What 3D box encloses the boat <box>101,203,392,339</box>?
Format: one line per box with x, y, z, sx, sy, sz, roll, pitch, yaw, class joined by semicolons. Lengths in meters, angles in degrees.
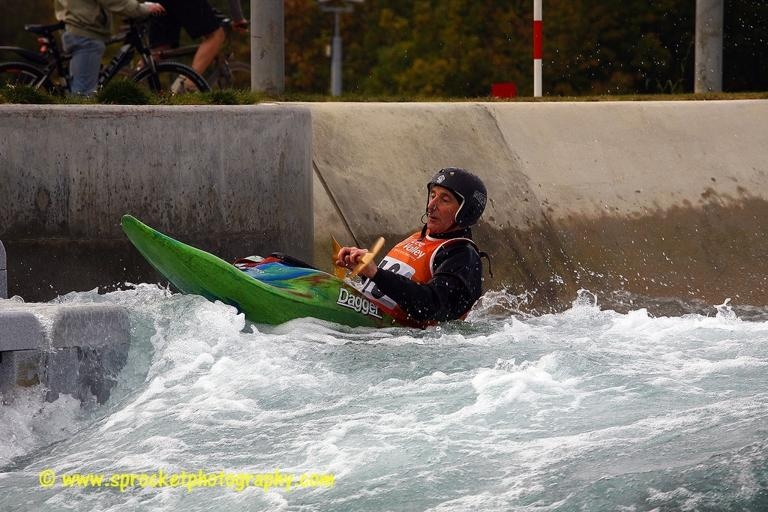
-0.883;0.265;9.138;2.286;0.443;0.736;22;11;-27;boat

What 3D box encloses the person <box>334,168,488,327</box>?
0.215;-0.019;9.741;0.816;1.048;0.811;28;10;-31;person

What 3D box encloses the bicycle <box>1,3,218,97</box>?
-2.856;-1.943;12.163;2.009;1.082;1.019;-11;26;-8;bicycle

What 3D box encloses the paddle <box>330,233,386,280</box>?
-0.296;0.038;9.225;0.139;0.330;0.461;-18;-8;-26;paddle

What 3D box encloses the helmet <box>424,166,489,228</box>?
0.580;-0.456;9.480;0.505;0.375;0.364;21;6;-41;helmet
